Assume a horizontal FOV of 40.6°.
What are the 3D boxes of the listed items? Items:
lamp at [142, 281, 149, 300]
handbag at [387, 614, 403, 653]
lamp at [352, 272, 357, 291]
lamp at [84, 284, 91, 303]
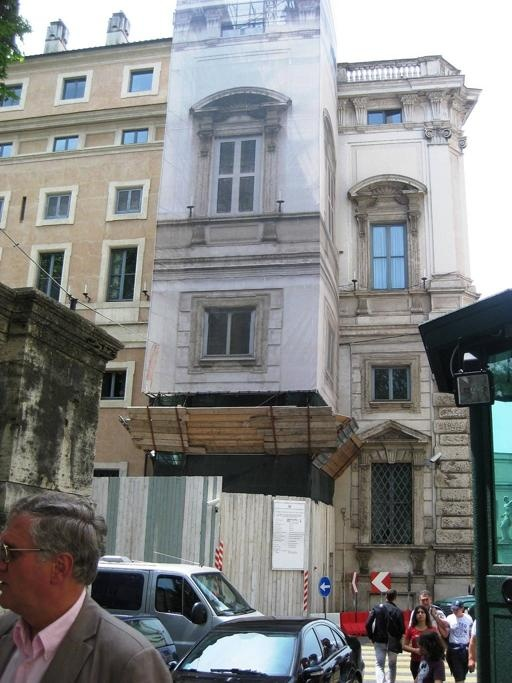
[{"bbox_3d":[-4.123,-1.881,25.649,0.311,0.795,0.115,2,-21,0],"label":"lamp"},{"bbox_3d":[2.310,4.853,11.518,0.272,0.609,0.273,-5,-21,16],"label":"handbag"},{"bbox_3d":[3.866,-2.376,27.445,0.205,0.855,0.260,11,-23,-23],"label":"lamp"},{"bbox_3d":[-6.380,-1.815,26.060,0.314,0.721,0.094,6,-21,-13],"label":"lamp"}]
